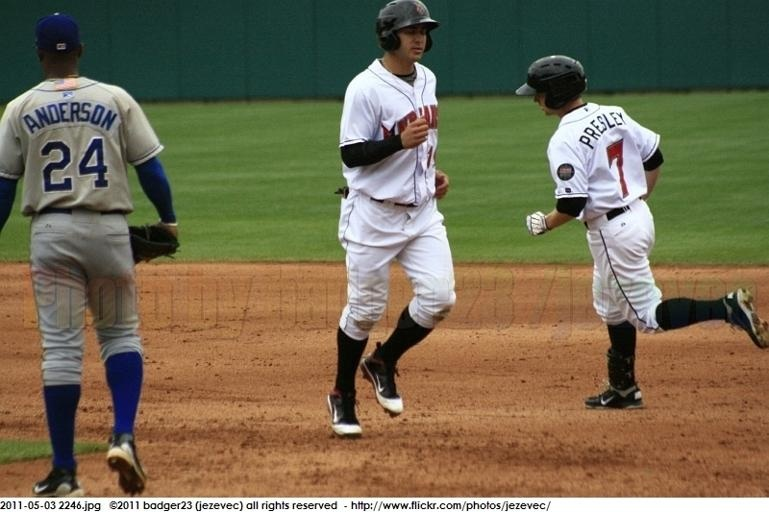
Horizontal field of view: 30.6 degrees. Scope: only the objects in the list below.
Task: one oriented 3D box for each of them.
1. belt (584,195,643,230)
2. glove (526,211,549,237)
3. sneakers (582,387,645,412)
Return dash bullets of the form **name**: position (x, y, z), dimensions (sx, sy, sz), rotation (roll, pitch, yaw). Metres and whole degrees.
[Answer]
- **belt**: position (2.150, -0.353, 13.483), dimensions (0.386, 0.089, 0.337), rotation (-27, 3, 22)
- **glove**: position (1.455, -0.299, 13.692), dimensions (0.156, 0.150, 0.284), rotation (1, 5, -15)
- **sneakers**: position (2.217, 1.410, 13.823), dimensions (0.658, 0.232, 0.207), rotation (1, -3, 1)
